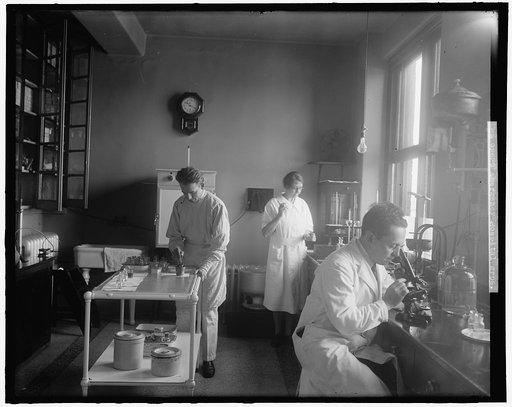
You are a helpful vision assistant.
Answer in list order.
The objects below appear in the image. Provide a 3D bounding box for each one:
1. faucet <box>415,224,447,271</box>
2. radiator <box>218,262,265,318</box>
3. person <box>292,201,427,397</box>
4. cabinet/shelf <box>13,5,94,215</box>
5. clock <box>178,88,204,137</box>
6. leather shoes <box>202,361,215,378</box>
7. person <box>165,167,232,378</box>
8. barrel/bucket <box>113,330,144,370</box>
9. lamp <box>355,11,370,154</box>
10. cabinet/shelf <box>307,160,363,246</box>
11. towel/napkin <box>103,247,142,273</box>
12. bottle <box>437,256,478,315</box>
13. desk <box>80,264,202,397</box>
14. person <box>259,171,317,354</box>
[{"bbox_3d":[1.220,0.272,3.224,0.142,0.399,0.258,5,3,8],"label":"faucet"},{"bbox_3d":[-0.050,0.953,5.008,0.884,0.504,0.961,4,-5,-5],"label":"radiator"},{"bbox_3d":[0.548,0.526,2.842,0.528,1.173,0.631,6,2,-2],"label":"person"},{"bbox_3d":[-2.137,-0.845,4.686,0.908,1.763,0.982,2,0,-34],"label":"cabinet/shelf"},{"bbox_3d":[-0.739,-1.009,5.218,0.241,0.490,0.137,4,5,-2],"label":"clock"},{"bbox_3d":[-0.372,1.286,3.710,0.105,0.104,0.117,1,10,-4],"label":"leather shoes"},{"bbox_3d":[-0.475,0.490,3.764,0.481,1.671,0.463,2,3,-12],"label":"person"},{"bbox_3d":[-0.840,0.959,3.159,0.162,0.248,0.192,4,3,-9],"label":"barrel/bucket"},{"bbox_3d":[1.114,-1.293,4.953,0.107,1.528,0.138,1,0,1],"label":"lamp"},{"bbox_3d":[0.860,0.009,4.988,0.523,0.907,0.314,3,3,-4],"label":"cabinet/shelf"},{"bbox_3d":[-1.340,0.543,4.761,0.359,0.259,0.380,0,1,-11],"label":"towel/napkin"},{"bbox_3d":[1.250,0.509,2.921,0.189,0.311,0.180,-1,-1,0],"label":"bottle"},{"bbox_3d":[-0.767,0.834,3.274,0.706,0.711,1.293,2,-2,-1],"label":"desk"},{"bbox_3d":[0.243,0.539,4.560,0.450,1.670,0.474,3,4,-13],"label":"person"}]
